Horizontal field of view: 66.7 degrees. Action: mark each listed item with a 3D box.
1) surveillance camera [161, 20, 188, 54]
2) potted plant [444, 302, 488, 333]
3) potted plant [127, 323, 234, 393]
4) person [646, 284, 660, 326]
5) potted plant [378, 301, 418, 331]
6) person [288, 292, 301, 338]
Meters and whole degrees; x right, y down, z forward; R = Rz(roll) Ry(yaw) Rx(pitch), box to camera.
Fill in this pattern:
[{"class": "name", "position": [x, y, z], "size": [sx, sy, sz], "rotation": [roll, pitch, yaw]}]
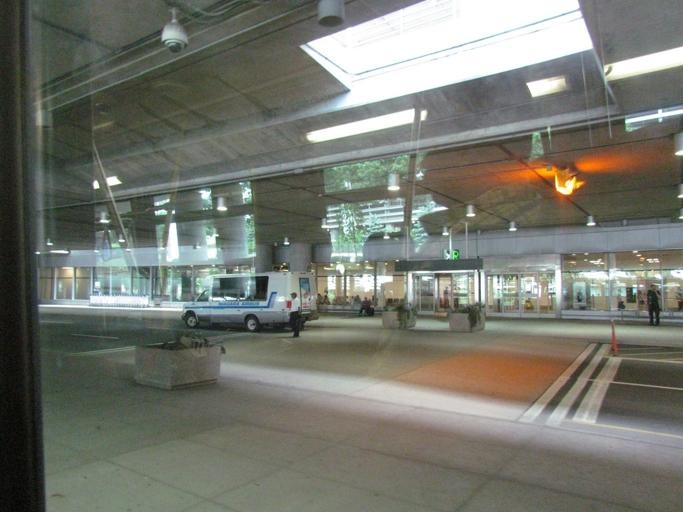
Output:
[{"class": "surveillance camera", "position": [-1.578, -2.092, 4.894], "size": [0.191, 0.304, 0.308], "rotation": [1, -1, -16]}, {"class": "potted plant", "position": [4.133, 2.203, 17.506], "size": [0.907, 0.615, 1.595], "rotation": [-2, -4, 23]}, {"class": "potted plant", "position": [-2.561, 1.641, 8.222], "size": [1.345, 0.855, 0.674], "rotation": [1, -1, -17]}, {"class": "person", "position": [11.750, 1.888, 19.650], "size": [0.392, 1.377, 1.141], "rotation": [1, -1, 29]}, {"class": "potted plant", "position": [1.802, 1.886, 16.667], "size": [0.893, 0.696, 1.934], "rotation": [1, -1, 12]}, {"class": "person", "position": [-1.559, 1.856, 17.646], "size": [0.378, 1.637, 0.554], "rotation": [1, -12, -29]}]
